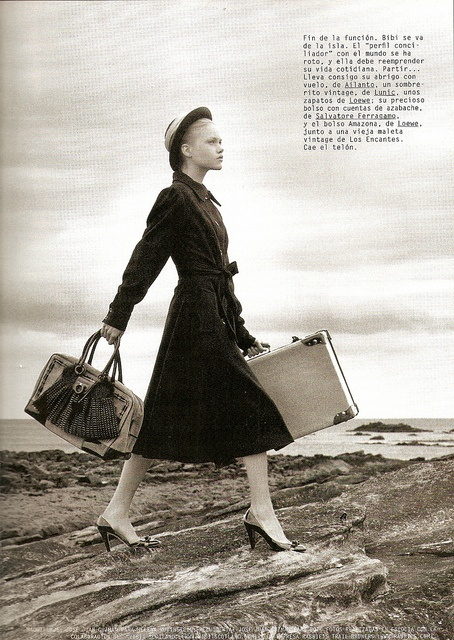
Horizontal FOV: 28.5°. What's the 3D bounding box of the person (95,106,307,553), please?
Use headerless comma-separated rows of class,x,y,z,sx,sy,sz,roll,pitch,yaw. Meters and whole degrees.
person,-0.021,0.017,3.628,0.770,1.725,0.672,2,15,12

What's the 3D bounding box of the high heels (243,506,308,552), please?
high heels,0.194,0.835,3.527,0.270,0.139,0.086,2,-8,24

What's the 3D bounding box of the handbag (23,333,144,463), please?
handbag,-0.504,0.256,3.528,0.503,0.472,0.231,23,19,27
